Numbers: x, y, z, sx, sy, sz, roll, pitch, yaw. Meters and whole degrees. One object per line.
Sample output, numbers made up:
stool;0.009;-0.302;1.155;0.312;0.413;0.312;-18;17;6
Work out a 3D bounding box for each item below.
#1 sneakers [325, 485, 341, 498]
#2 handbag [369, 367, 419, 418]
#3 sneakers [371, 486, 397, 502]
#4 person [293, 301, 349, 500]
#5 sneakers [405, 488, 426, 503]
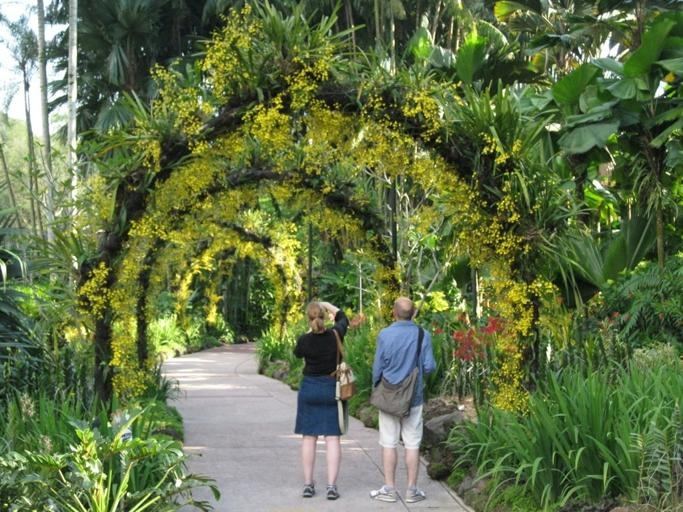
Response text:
sneakers;-0.095;2.702;9.834;0.153;0.147;0.247;2;-8;-1
handbag;0.627;1.557;9.832;0.389;0.518;0.220;1;-27;27
sneakers;0.482;2.701;9.816;0.291;0.181;0.141;5;-1;29
person;-0.247;1.672;9.959;0.595;2.214;0.355;2;-5;-5
sneakers;0.861;2.730;9.801;0.329;0.164;0.156;10;-11;-42
